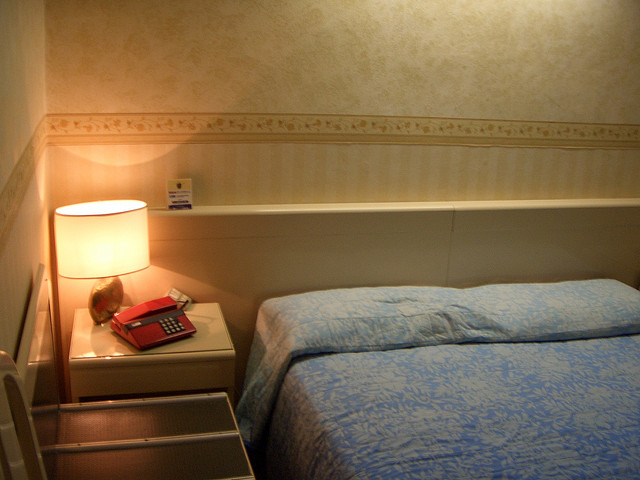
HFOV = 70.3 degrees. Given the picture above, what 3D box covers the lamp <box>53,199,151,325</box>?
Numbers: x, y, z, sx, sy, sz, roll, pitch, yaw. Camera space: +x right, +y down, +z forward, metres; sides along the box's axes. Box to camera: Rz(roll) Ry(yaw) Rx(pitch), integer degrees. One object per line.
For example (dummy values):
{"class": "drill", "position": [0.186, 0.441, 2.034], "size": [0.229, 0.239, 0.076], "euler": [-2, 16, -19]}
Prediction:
{"class": "lamp", "position": [-0.925, 0.098, 1.982], "size": [0.362, 0.527, 0.319], "euler": [-7, 14, -20]}
